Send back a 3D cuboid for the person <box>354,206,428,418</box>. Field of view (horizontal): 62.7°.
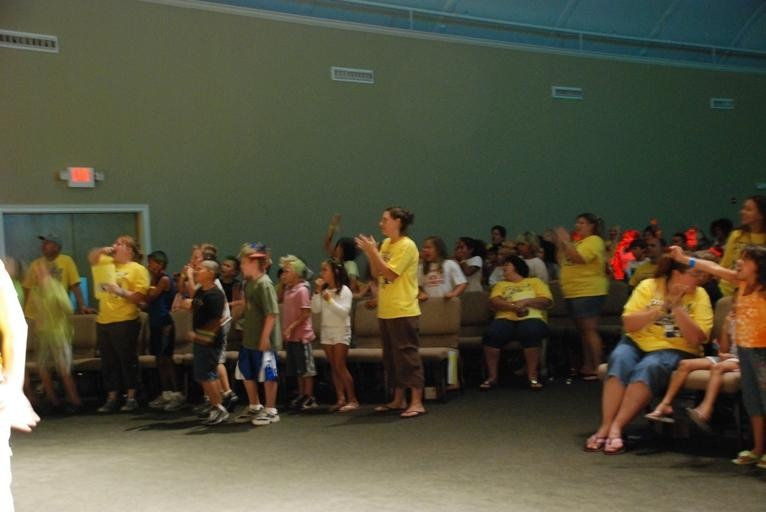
[{"bbox_3d":[0.098,0.561,6.483,0.582,1.883,0.469,-2,1,-9],"label":"person"}]

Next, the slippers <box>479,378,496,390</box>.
[{"bbox_3d":[1.229,1.495,7.390,0.082,0.080,0.232,0,0,44],"label":"slippers"}]

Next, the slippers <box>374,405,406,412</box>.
[{"bbox_3d":[0.061,1.622,6.668,0.263,0.060,0.103,4,-8,-14],"label":"slippers"}]

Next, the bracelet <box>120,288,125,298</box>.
[{"bbox_3d":[-2.883,0.404,6.966,0.066,0.079,0.067,-2,0,-28],"label":"bracelet"}]

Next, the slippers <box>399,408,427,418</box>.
[{"bbox_3d":[0.305,1.587,6.430,0.272,0.073,0.201,-2,0,1],"label":"slippers"}]

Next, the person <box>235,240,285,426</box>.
[{"bbox_3d":[-1.254,0.776,6.441,0.437,1.770,0.397,-2,1,15],"label":"person"}]

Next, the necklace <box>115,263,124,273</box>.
[{"bbox_3d":[-3.036,0.139,7.211,0.092,0.065,0.091,-1,-3,-43],"label":"necklace"}]

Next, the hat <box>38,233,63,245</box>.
[{"bbox_3d":[-4.158,-0.212,7.817,0.133,0.080,0.214,10,-6,30],"label":"hat"}]
